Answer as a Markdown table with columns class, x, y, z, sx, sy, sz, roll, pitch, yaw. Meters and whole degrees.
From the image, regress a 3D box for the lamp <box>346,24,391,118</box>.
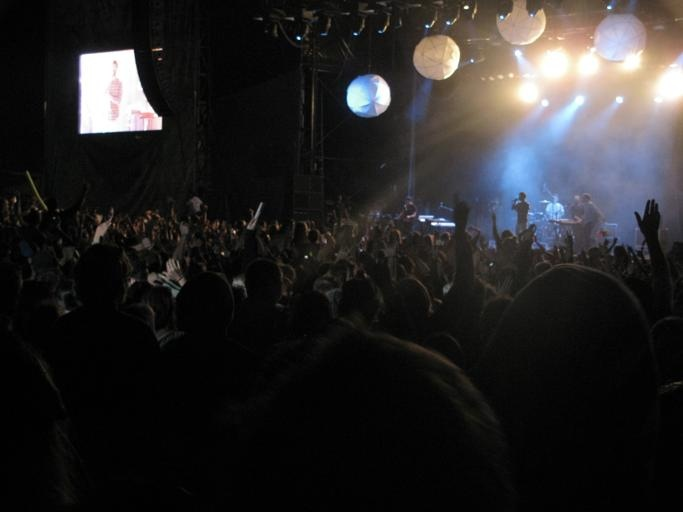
| class | x | y | z | sx | sy | sz | roll | pitch | yaw |
| --- | --- | --- | --- | --- | --- | --- | --- | --- | --- |
| lamp | 0.790 | -3.855 | 15.824 | 1.061 | 2.527 | 1.149 | 1 | -2 | 19 |

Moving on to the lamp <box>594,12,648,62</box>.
| class | x | y | z | sx | sy | sz | roll | pitch | yaw |
| --- | --- | --- | --- | --- | --- | --- | --- | --- | --- |
| lamp | 4.700 | -3.812 | 11.074 | 0.708 | 0.472 | 0.709 | 3 | -5 | -33 |

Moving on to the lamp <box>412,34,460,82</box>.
| class | x | y | z | sx | sy | sz | roll | pitch | yaw |
| --- | --- | --- | --- | --- | --- | --- | --- | --- | --- |
| lamp | 1.657 | -3.617 | 11.574 | 0.731 | 0.534 | 0.803 | -2 | -31 | 11 |
